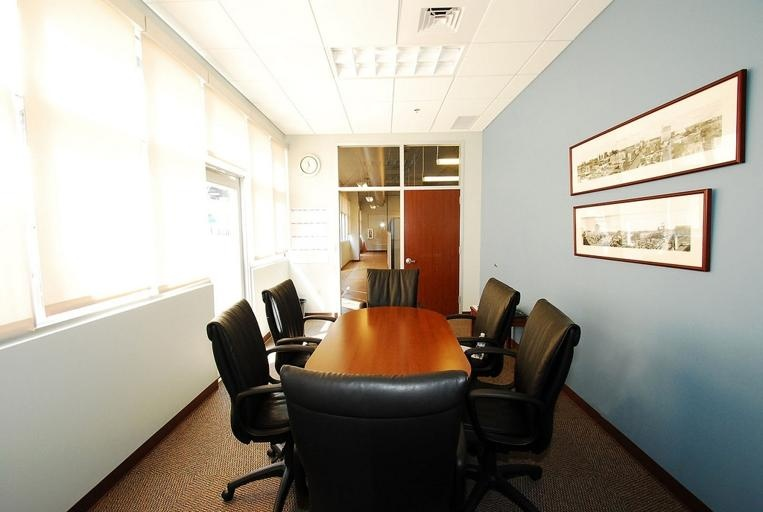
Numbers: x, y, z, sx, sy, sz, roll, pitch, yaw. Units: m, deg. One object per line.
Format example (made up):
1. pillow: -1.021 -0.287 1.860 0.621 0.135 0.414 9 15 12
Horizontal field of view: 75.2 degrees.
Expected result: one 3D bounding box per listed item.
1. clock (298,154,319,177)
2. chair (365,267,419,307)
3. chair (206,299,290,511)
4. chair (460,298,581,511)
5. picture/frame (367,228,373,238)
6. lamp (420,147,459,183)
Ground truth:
1. clock: -1.051 -1.332 7.150 0.269 0.321 0.024 0 9 6
2. chair: 0.151 0.344 5.536 0.386 0.617 0.449 0 -3 3
3. chair: -0.971 1.149 3.832 0.581 1.546 0.666 -1 6 -2
4. chair: 1.041 1.139 3.763 0.783 1.543 0.598 0 6 11
5. picture/frame: -0.465 -0.945 20.266 0.099 0.396 0.287 3 7 37
6. lamp: 0.872 -1.322 7.104 0.449 0.576 0.126 -1 3 -1
